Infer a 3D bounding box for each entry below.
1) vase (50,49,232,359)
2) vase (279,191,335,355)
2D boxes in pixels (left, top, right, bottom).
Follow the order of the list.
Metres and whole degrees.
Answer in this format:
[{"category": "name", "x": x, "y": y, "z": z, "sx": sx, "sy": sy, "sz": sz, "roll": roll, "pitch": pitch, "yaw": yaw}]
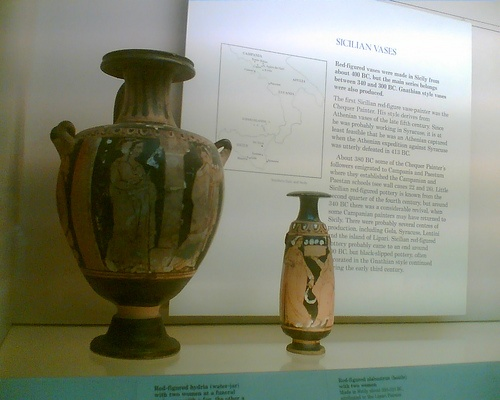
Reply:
[{"category": "vase", "x": -0.328, "y": 0.115, "z": 1.579, "sx": 0.508, "sy": 0.684, "sz": 0.204, "roll": 0, "pitch": 7, "yaw": -14}, {"category": "vase", "x": 0.183, "y": 0.226, "z": 1.666, "sx": 0.166, "sy": 0.498, "sz": 0.124, "roll": 2, "pitch": 7, "yaw": 3}]
